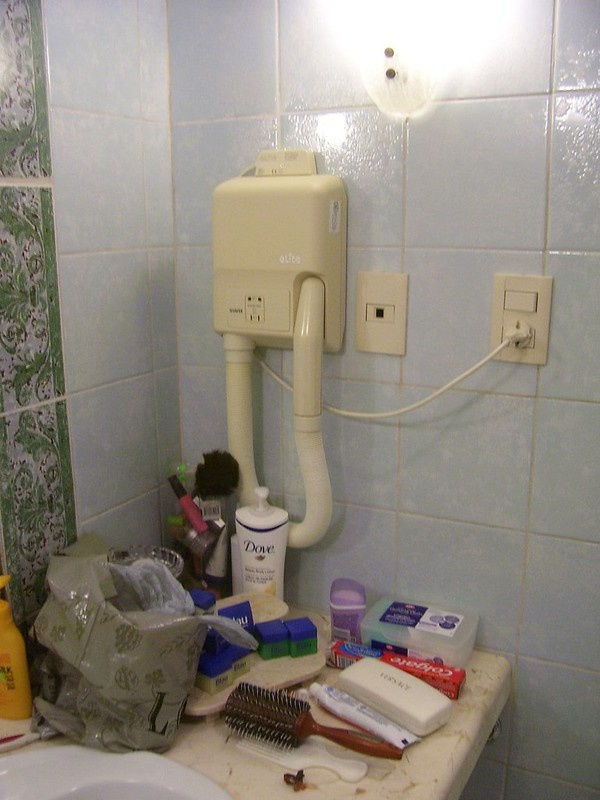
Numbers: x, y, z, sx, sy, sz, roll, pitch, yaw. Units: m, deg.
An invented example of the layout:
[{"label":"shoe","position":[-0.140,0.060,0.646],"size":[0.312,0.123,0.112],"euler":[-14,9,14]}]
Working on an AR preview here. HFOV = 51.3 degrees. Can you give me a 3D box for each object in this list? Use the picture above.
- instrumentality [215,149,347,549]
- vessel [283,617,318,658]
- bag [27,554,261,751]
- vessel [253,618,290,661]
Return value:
[{"label":"instrumentality","position":[-0.037,-0.050,0.992],"size":[0.215,0.574,0.120],"euler":[7,13,34]},{"label":"vessel","position":[0.002,0.338,0.884],"size":[0.033,0.047,0.041],"euler":[-1,12,-6]},{"label":"bag","position":[-0.207,0.275,0.815],"size":[0.236,0.227,0.177],"euler":[13,-2,37]},{"label":"vessel","position":[-0.042,0.334,0.874],"size":[0.037,0.047,0.042],"euler":[-4,2,26]}]
